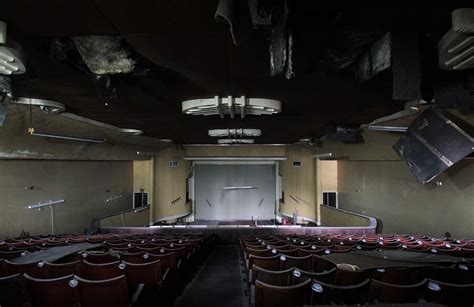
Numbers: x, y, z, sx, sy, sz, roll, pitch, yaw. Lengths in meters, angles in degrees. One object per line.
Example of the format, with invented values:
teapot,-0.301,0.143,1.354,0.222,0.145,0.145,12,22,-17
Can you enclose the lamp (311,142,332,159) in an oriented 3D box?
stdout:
lamp,4.122,-0.124,15.853,0.300,0.836,0.870,-7,1,-6
